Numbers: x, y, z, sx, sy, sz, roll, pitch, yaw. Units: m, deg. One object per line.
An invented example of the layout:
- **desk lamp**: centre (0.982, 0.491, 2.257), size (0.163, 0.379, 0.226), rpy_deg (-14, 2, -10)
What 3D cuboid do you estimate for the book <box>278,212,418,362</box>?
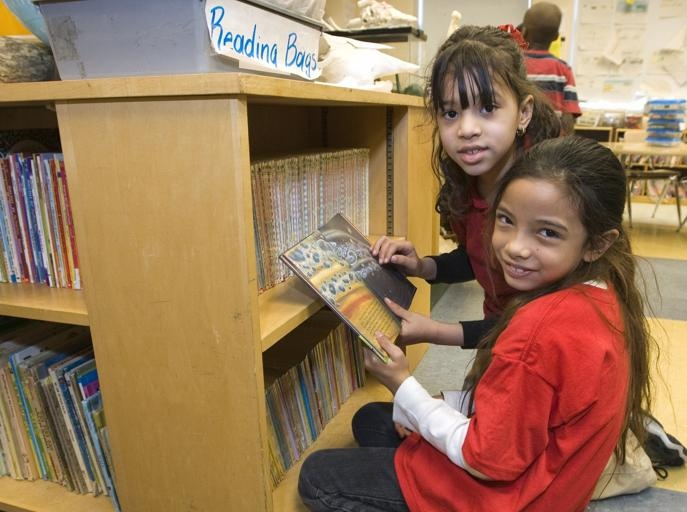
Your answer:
- **book**: centre (0.004, 0.083, 1.449), size (0.034, 0.495, 0.379), rpy_deg (-35, 12, 30)
